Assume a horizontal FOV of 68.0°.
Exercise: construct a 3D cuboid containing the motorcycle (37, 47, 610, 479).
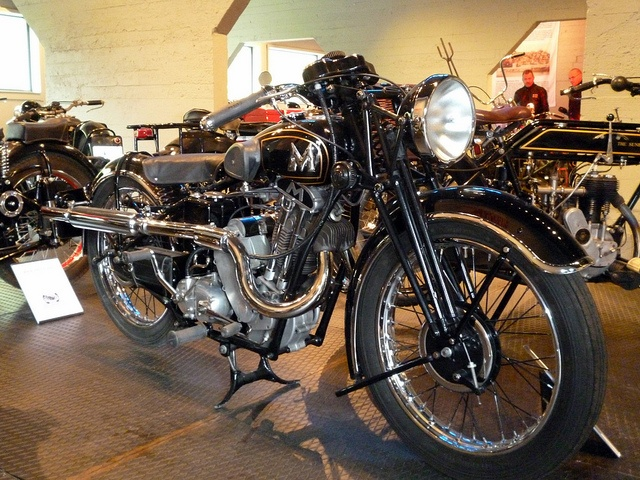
[{"bbox_3d":[0.038,0.013,2.009,2.148,1.493,0.920,12,23,32],"label":"motorcycle"}]
